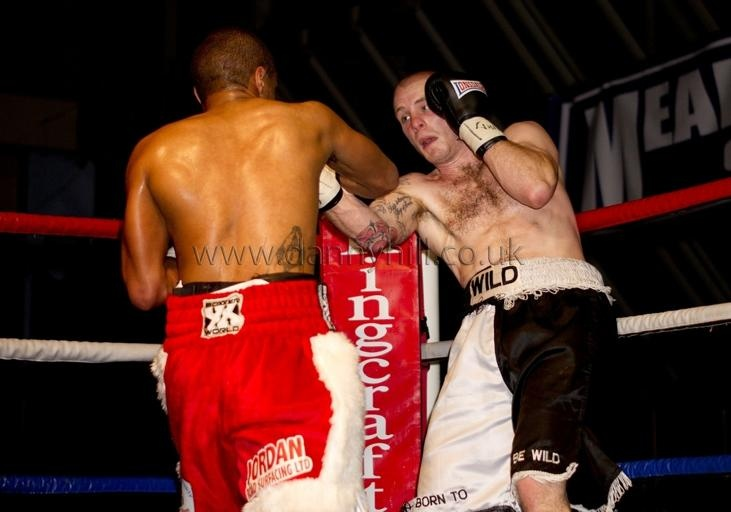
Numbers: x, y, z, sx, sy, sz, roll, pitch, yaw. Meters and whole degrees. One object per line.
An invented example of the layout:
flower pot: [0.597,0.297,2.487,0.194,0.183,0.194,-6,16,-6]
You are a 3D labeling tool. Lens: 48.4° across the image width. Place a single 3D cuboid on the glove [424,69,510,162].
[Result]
glove: [0.549,-0.814,4.689,0.344,0.560,0.200,-24,-16,-29]
